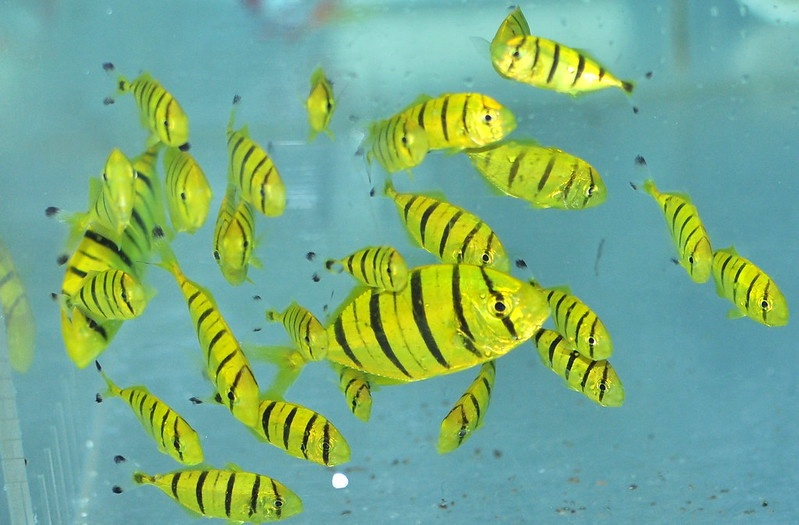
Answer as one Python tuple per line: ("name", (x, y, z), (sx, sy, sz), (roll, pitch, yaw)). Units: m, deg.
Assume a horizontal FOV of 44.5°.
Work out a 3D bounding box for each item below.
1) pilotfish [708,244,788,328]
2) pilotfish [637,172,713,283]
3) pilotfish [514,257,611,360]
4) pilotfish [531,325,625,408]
("pilotfish", (2.049, 0.154, 5.711), (0.153, 0.320, 0.505), (-30, 54, -29))
("pilotfish", (1.712, -0.215, 5.962), (0.157, 0.386, 0.702), (-12, 53, -4))
("pilotfish", (0.895, 0.258, 5.313), (0.134, 0.360, 0.742), (-20, 40, -27))
("pilotfish", (0.998, 0.603, 5.510), (0.680, 0.300, 0.207), (35, 50, 28))
